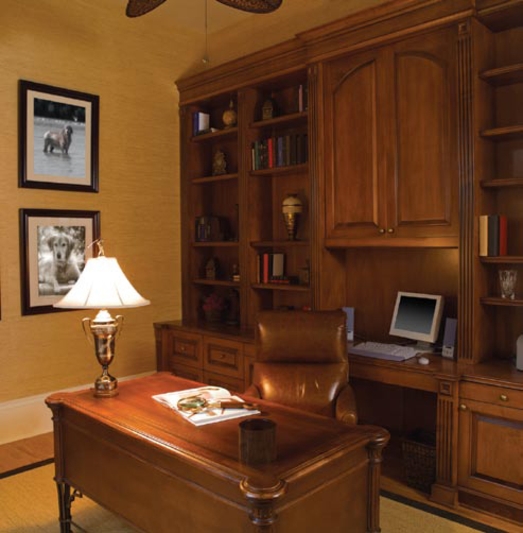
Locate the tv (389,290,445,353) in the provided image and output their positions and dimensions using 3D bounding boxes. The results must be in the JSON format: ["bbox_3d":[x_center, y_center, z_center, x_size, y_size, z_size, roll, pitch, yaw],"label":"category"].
[{"bbox_3d":[0.985,0.311,3.336,0.143,0.281,0.319,-5,5,-37],"label":"tv"}]

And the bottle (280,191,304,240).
[{"bbox_3d":[0.243,-0.394,4.056,0.148,0.344,0.194,-2,4,4],"label":"bottle"}]

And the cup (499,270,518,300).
[{"bbox_3d":[1.404,0.098,2.978,0.098,0.169,0.324,0,4,25],"label":"cup"}]

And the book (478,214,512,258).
[{"bbox_3d":[1.332,-0.166,3.015,0.192,0.252,0.262,1,2,27],"label":"book"}]

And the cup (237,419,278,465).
[{"bbox_3d":[-0.014,0.594,1.799,0.112,0.123,0.126,1,-5,-11],"label":"cup"}]

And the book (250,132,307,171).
[{"bbox_3d":[0.125,-0.874,4.023,0.102,0.249,0.550,-6,5,-43],"label":"book"}]

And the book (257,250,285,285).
[{"bbox_3d":[0.078,0.006,4.165,0.223,0.308,0.225,1,0,33],"label":"book"}]
